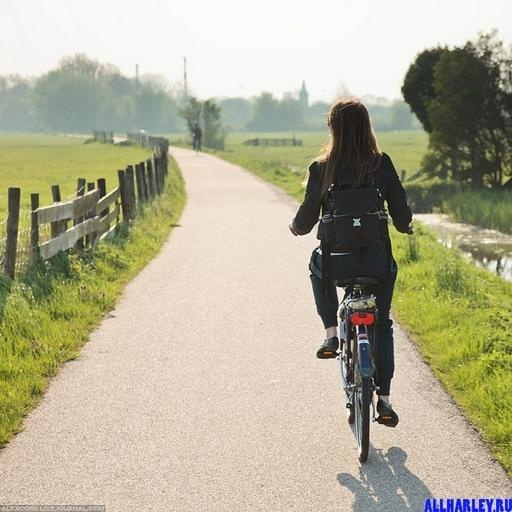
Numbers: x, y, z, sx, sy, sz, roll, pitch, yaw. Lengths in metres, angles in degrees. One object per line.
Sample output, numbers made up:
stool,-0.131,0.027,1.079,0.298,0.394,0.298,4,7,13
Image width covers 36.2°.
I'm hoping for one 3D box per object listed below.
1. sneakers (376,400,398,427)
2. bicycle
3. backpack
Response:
sneakers,0.939,1.118,5.617,0.080,0.127,0.243,-3,-31,15
bicycle,0.740,0.563,5.639,0.542,1.631,0.902,0,9,1
backpack,0.727,-0.364,5.501,0.334,0.524,0.274,1,46,12
